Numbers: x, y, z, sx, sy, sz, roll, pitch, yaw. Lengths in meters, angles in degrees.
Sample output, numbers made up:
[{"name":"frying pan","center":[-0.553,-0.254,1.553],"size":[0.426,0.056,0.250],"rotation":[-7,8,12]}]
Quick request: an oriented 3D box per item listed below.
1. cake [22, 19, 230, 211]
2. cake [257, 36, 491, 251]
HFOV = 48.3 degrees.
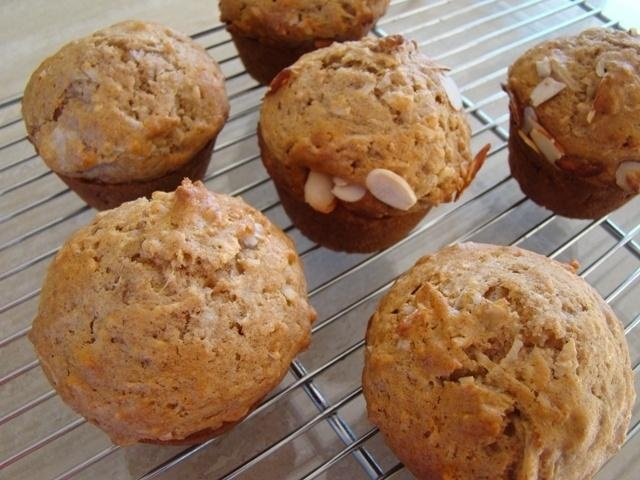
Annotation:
[{"name":"cake","center":[-0.599,-0.406,2.433],"size":[0.530,0.447,0.609],"rotation":[5,57,4]},{"name":"cake","center":[0.130,-0.297,2.377],"size":[0.590,0.534,0.659],"rotation":[9,53,-12]}]
